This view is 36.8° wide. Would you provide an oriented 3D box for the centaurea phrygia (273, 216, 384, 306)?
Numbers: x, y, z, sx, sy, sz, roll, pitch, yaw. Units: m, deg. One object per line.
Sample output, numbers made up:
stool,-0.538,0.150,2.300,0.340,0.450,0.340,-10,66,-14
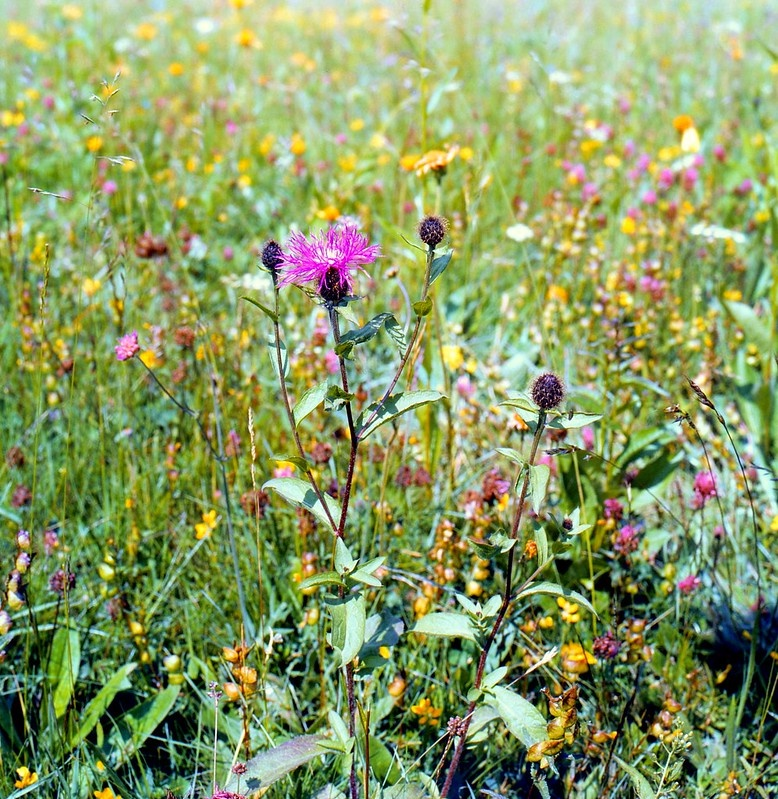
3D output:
centaurea phrygia,-0.156,-0.361,3.022,0.239,0.210,0.237,16,30,27
